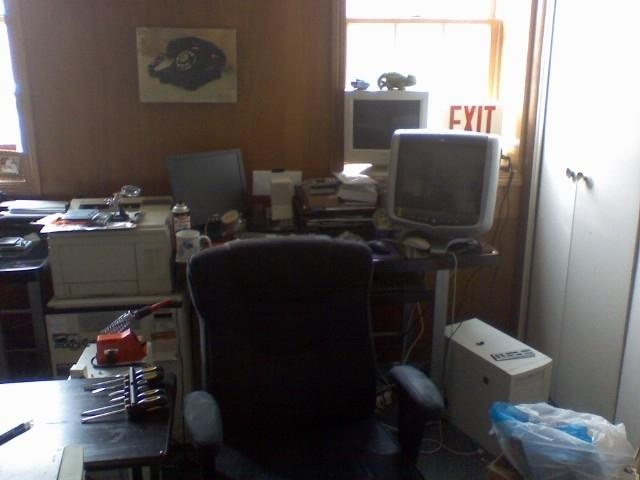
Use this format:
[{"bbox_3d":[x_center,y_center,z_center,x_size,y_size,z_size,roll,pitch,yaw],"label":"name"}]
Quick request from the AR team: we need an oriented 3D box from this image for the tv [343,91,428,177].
[{"bbox_3d":[0.376,-0.624,3.081,0.497,0.461,0.048,7,14,27],"label":"tv"}]

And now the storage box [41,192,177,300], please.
[{"bbox_3d":[-1.046,0.039,2.829,0.583,0.413,0.373,-3,16,-10],"label":"storage box"}]

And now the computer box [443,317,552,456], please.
[{"bbox_3d":[0.916,0.779,2.905,0.294,0.498,0.513,-12,20,-27],"label":"computer box"}]
